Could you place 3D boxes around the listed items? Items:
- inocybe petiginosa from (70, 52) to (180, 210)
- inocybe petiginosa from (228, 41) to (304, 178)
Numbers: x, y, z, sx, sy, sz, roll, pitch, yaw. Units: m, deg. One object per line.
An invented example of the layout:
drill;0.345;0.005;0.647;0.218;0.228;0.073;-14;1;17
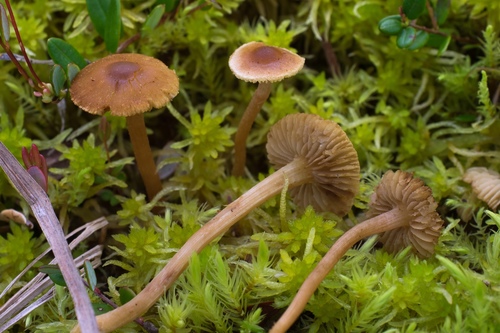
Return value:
inocybe petiginosa;-0.624;-0.163;2.238;0.491;0.733;0.292;0;26;-17
inocybe petiginosa;0.090;-0.289;2.436;0.339;0.697;0.365;-12;55;-8
